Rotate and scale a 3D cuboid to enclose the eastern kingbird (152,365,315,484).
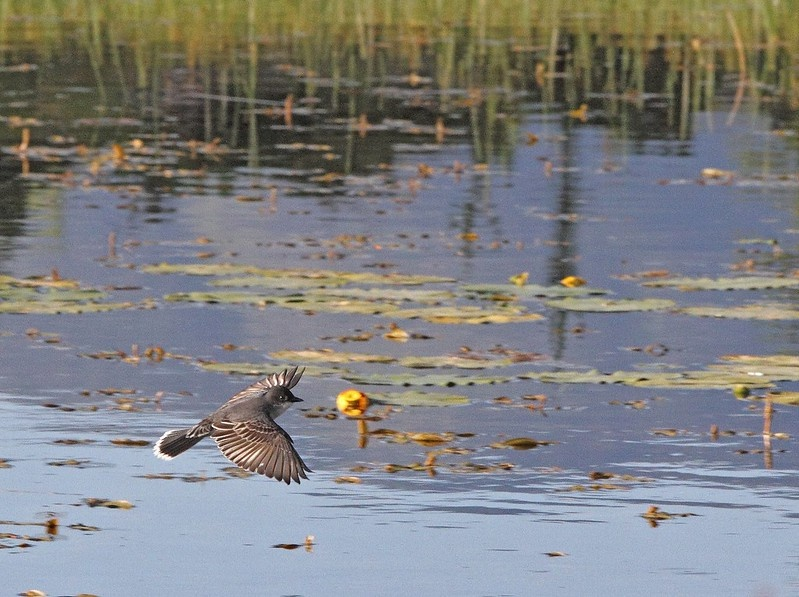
[{"bbox_3d":[-1.286,0.888,12.615,1.295,0.466,1.550,-7,31,4],"label":"eastern kingbird"}]
